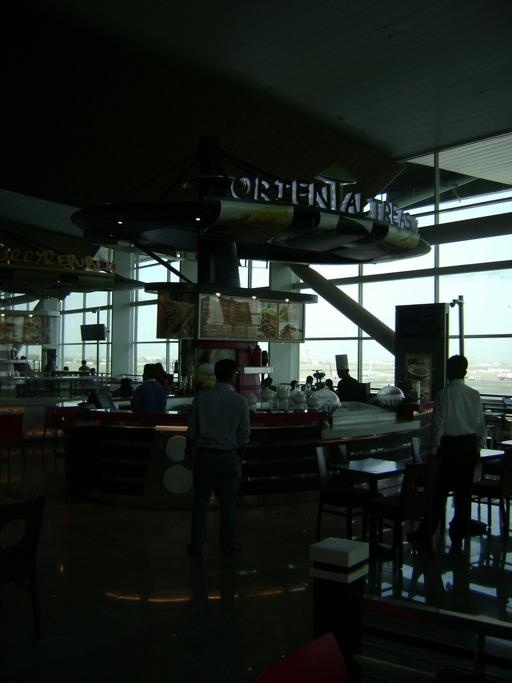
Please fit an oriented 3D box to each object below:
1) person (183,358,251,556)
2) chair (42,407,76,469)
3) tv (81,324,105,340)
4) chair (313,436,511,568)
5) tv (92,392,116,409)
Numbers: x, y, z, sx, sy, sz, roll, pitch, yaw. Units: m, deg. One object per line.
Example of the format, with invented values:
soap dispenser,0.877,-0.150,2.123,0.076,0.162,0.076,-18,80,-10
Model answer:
person,-0.270,0.800,4.470,0.407,1.301,0.182,2,0,-6
chair,-2.728,1.178,8.913,0.386,0.725,2.836,2,1,-18
tv,-4.759,-0.240,18.979,0.738,0.481,0.170,-1,1,34
chair,1.188,1.155,5.020,0.889,1.462,1.003,5,-3,-40
tv,-1.749,0.695,7.432,0.125,0.206,0.230,-13,-7,15
